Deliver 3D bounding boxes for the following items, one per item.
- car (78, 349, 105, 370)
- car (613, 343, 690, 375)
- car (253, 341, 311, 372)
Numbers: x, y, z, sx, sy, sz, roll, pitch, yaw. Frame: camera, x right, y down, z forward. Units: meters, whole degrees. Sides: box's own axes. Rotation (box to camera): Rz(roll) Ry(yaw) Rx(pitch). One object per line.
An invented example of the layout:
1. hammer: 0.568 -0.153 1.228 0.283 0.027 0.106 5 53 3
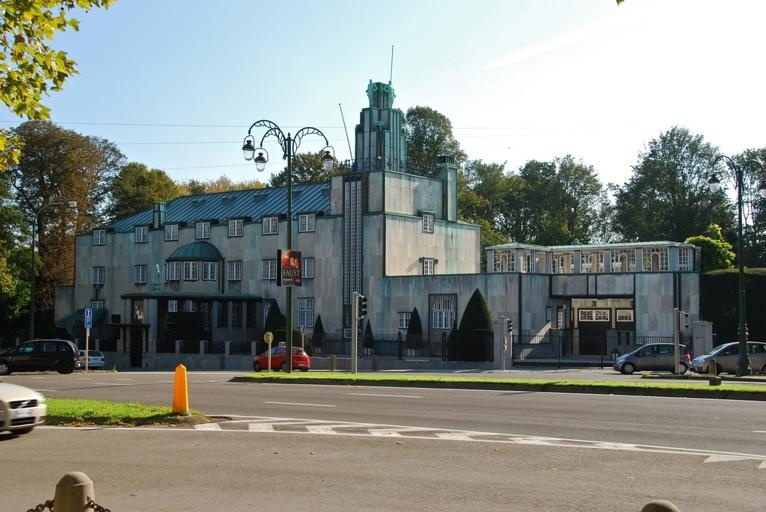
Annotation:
1. car: -17.929 6.387 62.127 1.227 1.101 2.717 1 0 -32
2. car: 14.333 5.405 53.632 3.699 1.701 2.042 -3 -10 25
3. car: -5.593 5.734 57.674 2.551 1.326 1.622 1 -3 31
